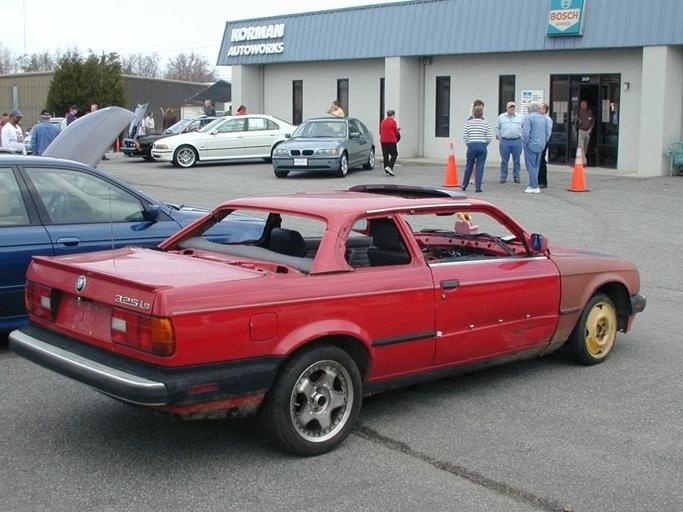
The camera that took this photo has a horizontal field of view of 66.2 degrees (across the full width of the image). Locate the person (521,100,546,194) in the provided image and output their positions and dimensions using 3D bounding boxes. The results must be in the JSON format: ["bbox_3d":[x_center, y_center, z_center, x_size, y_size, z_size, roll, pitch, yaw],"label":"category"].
[{"bbox_3d":[5.998,-3.402,16.311,0.739,2.869,1.231,3,7,27],"label":"person"}]

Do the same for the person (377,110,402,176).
[{"bbox_3d":[1.913,-4.467,20.480,0.670,2.609,1.567,1,6,6],"label":"person"}]

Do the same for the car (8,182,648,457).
[{"bbox_3d":[0.325,0.277,4.793,5.796,1.831,2.119,-5,9,-34],"label":"car"}]

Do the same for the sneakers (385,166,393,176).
[{"bbox_3d":[1.900,-3.293,20.412,0.173,0.245,0.489,12,-1,33],"label":"sneakers"}]

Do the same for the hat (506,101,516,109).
[{"bbox_3d":[5.448,-4.887,16.947,0.204,0.222,0.536,1,8,10],"label":"hat"}]

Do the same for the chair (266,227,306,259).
[{"bbox_3d":[-0.417,-0.166,4.138,0.263,0.222,0.192,10,16,41],"label":"chair"}]

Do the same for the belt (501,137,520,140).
[{"bbox_3d":[5.477,-3.812,17.012,0.576,0.111,0.178,4,8,22],"label":"belt"}]

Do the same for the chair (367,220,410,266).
[{"bbox_3d":[0.420,-0.138,4.258,0.331,0.393,0.310,4,6,36],"label":"chair"}]
